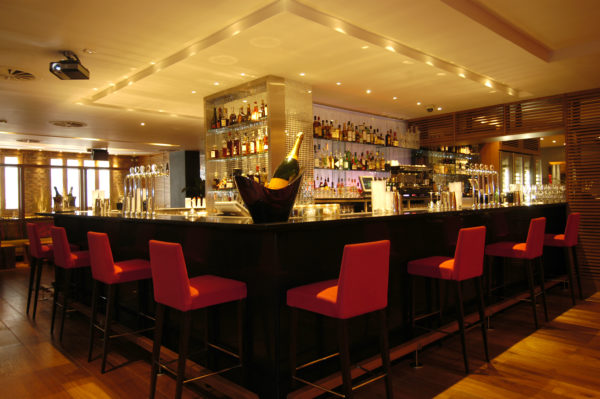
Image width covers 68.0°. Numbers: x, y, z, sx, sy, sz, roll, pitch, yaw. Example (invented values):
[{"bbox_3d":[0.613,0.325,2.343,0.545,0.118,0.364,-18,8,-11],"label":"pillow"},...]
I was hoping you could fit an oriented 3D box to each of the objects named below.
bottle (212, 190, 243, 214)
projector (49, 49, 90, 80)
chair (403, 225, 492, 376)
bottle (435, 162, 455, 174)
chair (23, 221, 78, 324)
[{"bbox_3d":[-0.980,0.026,6.102,0.107,0.289,0.453,-25,18,-33],"label":"bottle"},{"bbox_3d":[-3.182,-1.837,6.150,0.402,0.356,0.382,1,6,7],"label":"projector"},{"bbox_3d":[1.727,1.080,5.099,0.847,1.563,0.701,-1,5,22],"label":"chair"},{"bbox_3d":[3.278,-0.680,9.964,0.783,0.259,0.140,-6,6,-43],"label":"bottle"},{"bbox_3d":[-3.791,1.048,6.723,0.642,1.370,0.535,5,-7,-39],"label":"chair"}]
